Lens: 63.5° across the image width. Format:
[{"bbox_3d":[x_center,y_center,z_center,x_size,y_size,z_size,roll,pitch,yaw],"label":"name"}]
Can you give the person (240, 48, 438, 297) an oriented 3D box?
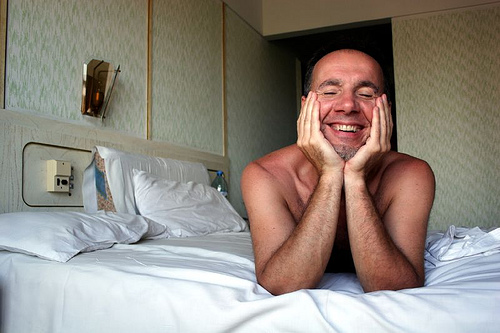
[{"bbox_3d":[0.373,-0.024,1.635,0.790,0.994,0.461,3,-3,-2],"label":"person"}]
